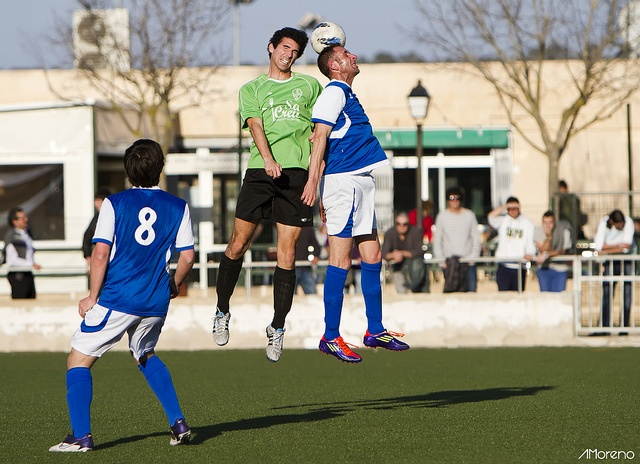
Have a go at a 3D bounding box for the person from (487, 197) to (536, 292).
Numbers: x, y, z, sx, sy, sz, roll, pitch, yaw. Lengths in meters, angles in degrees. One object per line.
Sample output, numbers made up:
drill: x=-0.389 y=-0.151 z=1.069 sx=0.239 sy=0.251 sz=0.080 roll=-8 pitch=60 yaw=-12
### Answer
person: x=3.299 y=0.206 z=22.206 sx=0.804 sy=1.484 sz=1.137 roll=0 pitch=10 yaw=7

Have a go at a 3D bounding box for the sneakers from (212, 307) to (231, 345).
sneakers: x=-1.378 y=1.340 z=17.858 sx=0.174 sy=0.541 sz=0.218 roll=-1 pitch=-15 yaw=-4

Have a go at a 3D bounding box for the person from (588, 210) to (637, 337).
person: x=4.982 y=0.685 z=21.944 sx=0.660 sy=1.855 sz=1.555 roll=1 pitch=10 yaw=13

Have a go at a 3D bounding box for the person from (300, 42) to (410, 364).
person: x=0.399 y=-0.269 z=17.619 sx=1.152 sy=4.427 sz=1.093 roll=-1 pitch=10 yaw=0

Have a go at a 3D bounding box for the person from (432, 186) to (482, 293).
person: x=2.388 y=0.162 z=22.627 sx=0.875 sy=1.706 sz=0.976 roll=4 pitch=11 yaw=27

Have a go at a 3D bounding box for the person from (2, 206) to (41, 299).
person: x=-5.436 y=0.431 z=23.355 sx=0.611 sy=1.469 sz=1.538 roll=-3 pitch=11 yaw=-15

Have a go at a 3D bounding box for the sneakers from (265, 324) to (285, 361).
sneakers: x=-0.609 y=1.564 z=17.628 sx=0.180 sy=0.573 sz=0.239 roll=3 pitch=-15 yaw=-27

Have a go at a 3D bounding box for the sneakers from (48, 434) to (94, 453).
sneakers: x=-3.160 y=2.689 z=16.309 sx=0.568 sy=0.255 sz=0.205 roll=1 pitch=-6 yaw=2

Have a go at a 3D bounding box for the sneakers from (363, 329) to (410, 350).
sneakers: x=0.888 y=1.489 z=17.637 sx=0.654 sy=0.316 sz=0.258 roll=5 pitch=-3 yaw=8
